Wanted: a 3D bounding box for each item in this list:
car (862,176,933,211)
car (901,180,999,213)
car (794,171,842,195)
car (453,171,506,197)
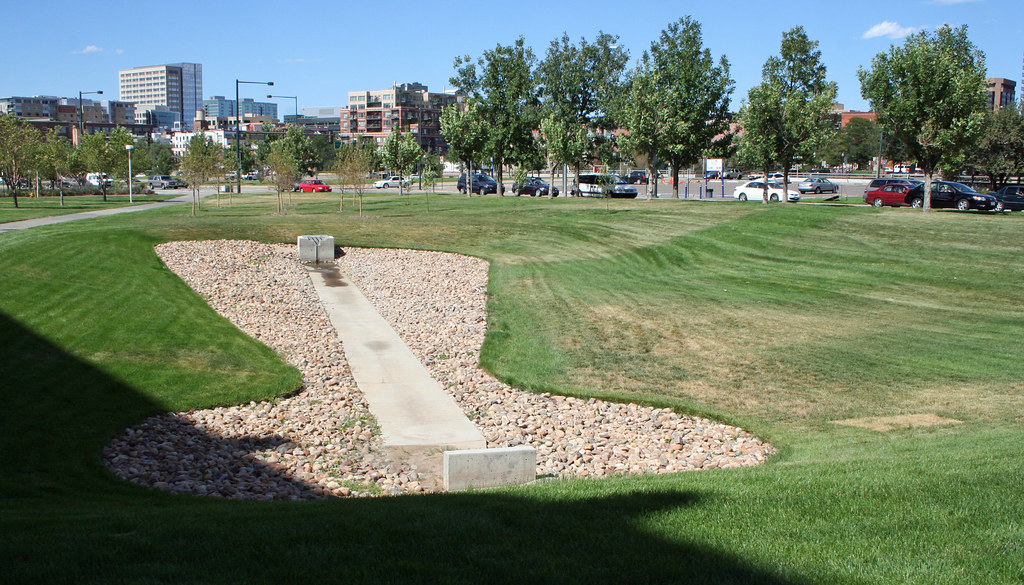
[{"bbox_3d":[23.835,-6.377,53.686,1.973,1.264,3.894,-5,5,-34],"label":"car"},{"bbox_3d":[25.619,-5.705,49.608,2.247,1.388,4.595,-5,7,-41],"label":"car"},{"bbox_3d":[27.873,-9.671,76.645,2.937,1.271,3.700,3,9,28],"label":"car"},{"bbox_3d":[-3.560,-9.427,73.367,4.303,1.592,2.373,4,8,44],"label":"car"}]
